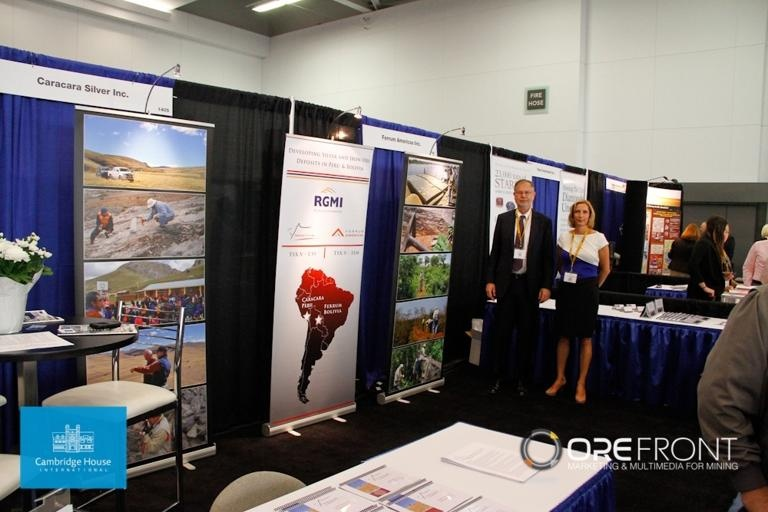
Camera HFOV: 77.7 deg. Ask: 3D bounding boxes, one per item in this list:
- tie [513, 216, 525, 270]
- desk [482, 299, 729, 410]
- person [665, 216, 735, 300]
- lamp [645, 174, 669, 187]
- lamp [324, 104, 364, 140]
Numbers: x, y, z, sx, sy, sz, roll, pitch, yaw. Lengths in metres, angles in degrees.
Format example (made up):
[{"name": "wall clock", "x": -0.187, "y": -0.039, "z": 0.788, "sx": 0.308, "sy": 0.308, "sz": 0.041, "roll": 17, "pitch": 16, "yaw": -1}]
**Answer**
[{"name": "tie", "x": 1.415, "y": -0.129, "z": 5.005, "sx": 0.107, "sy": 0.582, "sz": 0.134, "roll": 3, "pitch": 7, "yaw": 16}, {"name": "desk", "x": 2.373, "y": 1.052, "z": 5.080, "sx": 2.743, "sy": 0.907, "sz": 0.414, "roll": 7, "pitch": -1, "yaw": -2}, {"name": "person", "x": 4.399, "y": -0.045, "z": 6.626, "sx": 0.787, "sy": 1.032, "sz": 1.973, "roll": 6, "pitch": 8, "yaw": 32}, {"name": "lamp", "x": 5.170, "y": -1.426, "z": 9.025, "sx": 0.378, "sy": 0.188, "sz": 0.572, "roll": 6, "pitch": 8, "yaw": 30}, {"name": "lamp", "x": -0.358, "y": -1.334, "z": 4.849, "sx": 0.186, "sy": 0.365, "sz": 0.411, "roll": 5, "pitch": 8, "yaw": 30}]
